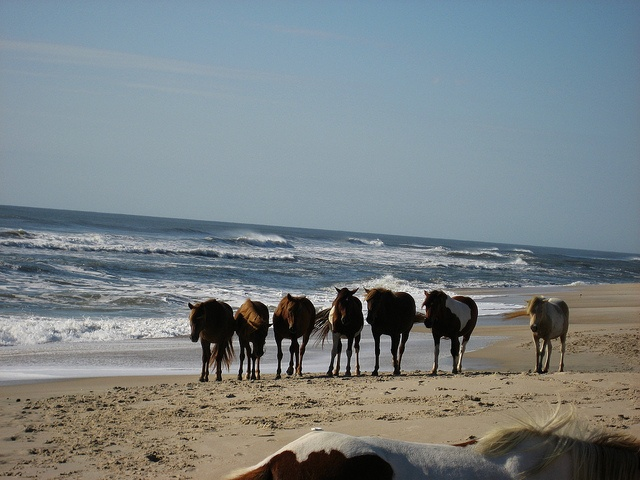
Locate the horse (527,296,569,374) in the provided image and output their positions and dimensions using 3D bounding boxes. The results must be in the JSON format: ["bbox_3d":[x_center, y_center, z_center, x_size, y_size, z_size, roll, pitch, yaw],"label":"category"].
[{"bbox_3d":[6.377,2.627,24.408,1.009,2.110,2.714,0,-3,18],"label":"horse"}]

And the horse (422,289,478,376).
[{"bbox_3d":[3.754,2.612,25.048,1.331,2.317,2.518,0,-3,18],"label":"horse"}]

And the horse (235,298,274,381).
[{"bbox_3d":[-1.951,2.810,24.831,0.973,2.213,1.720,1,-2,-6],"label":"horse"}]

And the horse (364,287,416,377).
[{"bbox_3d":[1.998,2.592,25.023,1.035,2.419,2.123,-1,-3,38],"label":"horse"}]

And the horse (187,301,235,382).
[{"bbox_3d":[-2.964,2.803,25.097,0.836,2.395,3.428,-2,0,11],"label":"horse"}]

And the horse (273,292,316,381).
[{"bbox_3d":[-0.750,2.715,25.205,1.168,2.341,2.661,1,-2,2],"label":"horse"}]
